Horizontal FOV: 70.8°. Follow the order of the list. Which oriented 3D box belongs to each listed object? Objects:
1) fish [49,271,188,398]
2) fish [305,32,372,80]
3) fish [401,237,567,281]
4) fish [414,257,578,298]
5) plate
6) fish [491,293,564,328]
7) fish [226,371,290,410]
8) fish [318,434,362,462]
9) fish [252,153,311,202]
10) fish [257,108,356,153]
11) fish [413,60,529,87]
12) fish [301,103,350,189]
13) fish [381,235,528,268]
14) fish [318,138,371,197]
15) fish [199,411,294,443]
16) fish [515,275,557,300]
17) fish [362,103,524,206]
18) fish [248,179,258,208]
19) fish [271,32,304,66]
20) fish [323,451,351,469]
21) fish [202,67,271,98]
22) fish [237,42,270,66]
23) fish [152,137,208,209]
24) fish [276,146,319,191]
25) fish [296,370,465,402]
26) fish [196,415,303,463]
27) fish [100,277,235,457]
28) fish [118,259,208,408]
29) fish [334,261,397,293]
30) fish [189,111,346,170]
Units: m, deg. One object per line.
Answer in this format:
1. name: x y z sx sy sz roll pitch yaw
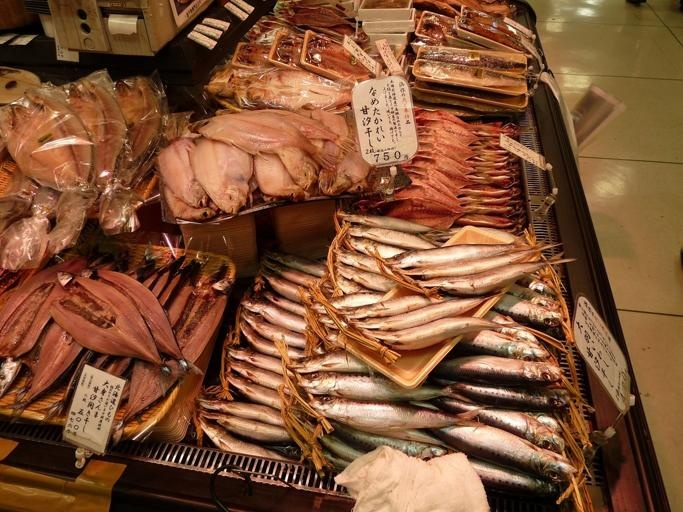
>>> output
1. fish: -1.037 0.308 2.296 0.632 0.146 0.355 37 67 16
2. fish: -0.051 -1.315 3.200 0.487 0.080 0.285 34 57 8
3. fish: 0.627 0.015 2.204 0.381 0.067 0.136 -12 42 -3
4. fish: 0.653 0.097 2.137 0.418 0.074 0.093 -16 75 2
5. plate: 0.504 0.284 2.290 0.497 0.149 0.869 32 68 22
6. fish: 0.814 0.246 2.117 0.228 0.042 0.097 21 65 18
7. fish: -0.385 0.644 2.270 0.365 0.098 0.077 22 102 15
8. fish: 0.002 0.818 2.036 0.204 0.046 0.070 19 53 24
9. fish: -0.339 -0.399 2.494 0.177 0.108 0.329 -34 63 -23
10. fish: -0.194 -0.673 2.610 0.401 0.126 0.162 22 63 -3
11. fish: 0.881 -1.222 3.218 0.609 0.089 0.140 8 63 8
12. fish: -0.052 -0.600 2.619 0.291 0.106 0.456 10 61 0
13. fish: 0.543 -0.017 2.250 0.408 0.071 0.070 -10 57 0
14. fish: 0.009 -0.464 2.580 0.302 0.104 0.249 -16 57 -14
15. fish: -0.429 0.793 2.207 0.464 0.078 0.095 16 95 -1
16. fish: 0.894 0.140 2.217 0.164 0.084 0.057 24 17 10
17. fish: 0.640 -0.553 2.880 0.752 0.225 0.592 9 60 -3
18. fish: -0.457 -0.334 2.511 0.071 0.119 0.029 2 9 -31
19. fish: -0.367 -1.425 3.268 0.211 0.070 0.408 2 55 -1
20. fish: -0.020 0.871 2.044 0.096 0.023 0.055 21 85 9
21. fish: -0.710 -1.146 3.179 0.296 0.097 0.297 13 49 26
22. fish: -0.602 -1.376 3.265 0.239 0.039 0.258 -2 55 -4
23. fish: -0.822 -0.421 2.556 0.259 0.101 0.375 -12 65 5
24. fish: -0.242 -0.433 2.560 0.172 0.064 0.251 -34 94 -32
25. fish: 0.172 0.549 2.009 0.460 0.078 0.082 6 54 6
26. fish: -0.410 0.838 2.171 0.570 0.099 0.099 15 15 13
27. fish: -0.752 0.480 2.242 0.429 0.180 0.775 4 47 0
28. fish: -0.775 0.344 2.295 0.437 0.131 0.599 -13 50 13
29. fish: 0.125 0.105 2.281 0.232 0.088 0.052 17 39 1
30. fish: -0.356 -0.654 2.619 0.745 0.106 0.317 6 56 -3
